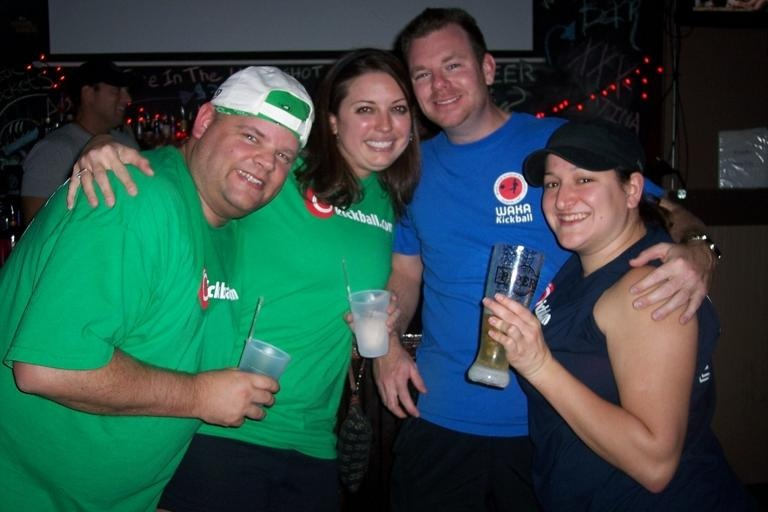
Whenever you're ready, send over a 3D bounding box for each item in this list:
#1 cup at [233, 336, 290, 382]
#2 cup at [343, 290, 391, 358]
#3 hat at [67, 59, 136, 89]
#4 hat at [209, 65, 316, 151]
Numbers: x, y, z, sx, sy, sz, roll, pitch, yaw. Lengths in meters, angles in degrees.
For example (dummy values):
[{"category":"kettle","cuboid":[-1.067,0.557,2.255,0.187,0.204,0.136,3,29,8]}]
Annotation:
[{"category":"cup","cuboid":[-0.671,0.582,3.403,0.236,0.224,0.260,28,-4,12]},{"category":"cup","cuboid":[-0.080,0.451,3.656,0.244,0.498,0.220,-2,13,6]},{"category":"hat","cuboid":[-2.897,-1.851,5.995,0.477,0.194,0.332,1,15,-23]},{"category":"hat","cuboid":[-0.664,-0.816,3.323,0.383,0.239,0.499,18,-19,-26]}]
